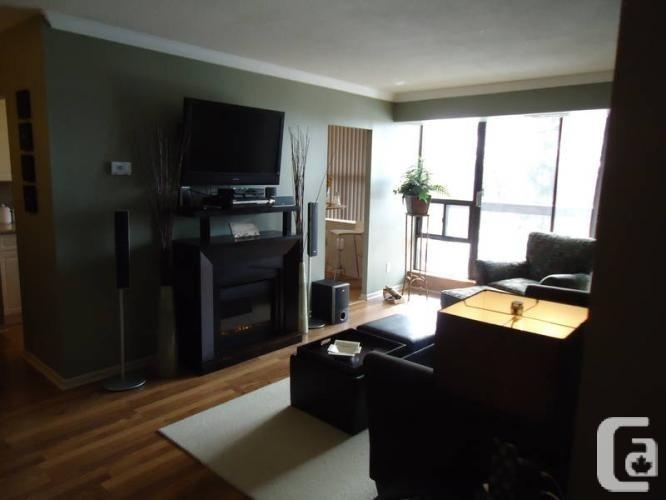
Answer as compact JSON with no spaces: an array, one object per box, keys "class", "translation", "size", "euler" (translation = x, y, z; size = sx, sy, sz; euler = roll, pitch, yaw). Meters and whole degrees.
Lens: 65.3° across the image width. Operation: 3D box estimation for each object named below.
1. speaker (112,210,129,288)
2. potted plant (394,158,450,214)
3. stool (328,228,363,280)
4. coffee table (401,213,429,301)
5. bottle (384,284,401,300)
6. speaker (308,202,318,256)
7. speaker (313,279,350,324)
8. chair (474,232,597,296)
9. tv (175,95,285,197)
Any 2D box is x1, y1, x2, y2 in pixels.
[{"class":"speaker","translation":[-1.614,-0.007,3.966],"size":[0.106,0.583,0.154],"euler":[-3,11,-23]},{"class":"potted plant","translation":[0.980,-0.818,6.535],"size":[0.709,0.751,0.632],"euler":[-2,11,-14]},{"class":"stool","translation":[0.148,0.067,7.829],"size":[0.297,0.698,0.673],"euler":[-7,13,-38]},{"class":"coffee table","translation":[1.129,0.040,7.002],"size":[0.346,1.078,0.706],"euler":[3,11,10]},{"class":"bottle","translation":[0.740,0.539,6.602],"size":[0.128,0.112,0.318],"euler":[-4,12,-25]},{"class":"speaker","translation":[-0.220,-0.205,5.389],"size":[0.095,0.566,0.115],"euler":[-1,11,-13]},{"class":"speaker","translation":[-0.033,0.556,5.701],"size":[0.370,0.428,0.238],"euler":[11,16,42]},{"class":"chair","translation":[2.082,0.150,5.325],"size":[1.094,0.551,0.870],"euler":[11,14,40]},{"class":"tv","translation":[-0.937,-0.907,4.542],"size":[0.114,0.707,0.959],"euler":[24,21,36]}]
